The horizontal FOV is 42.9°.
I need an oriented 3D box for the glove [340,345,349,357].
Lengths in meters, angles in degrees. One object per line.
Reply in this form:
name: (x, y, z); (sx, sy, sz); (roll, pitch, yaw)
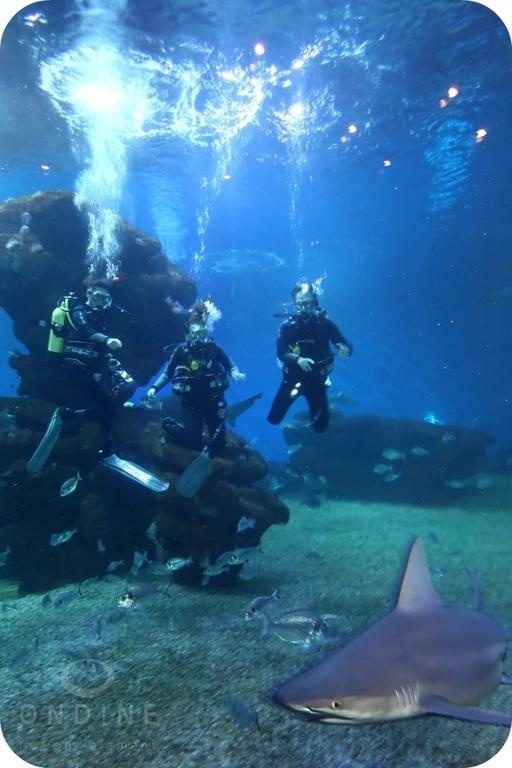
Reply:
glove: (1.689, -0.619, 12.286); (0.187, 0.231, 0.268); (1, 6, 3)

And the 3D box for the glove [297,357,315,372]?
glove: (0.976, -0.369, 12.524); (0.337, 0.315, 0.934); (1, 6, 4)

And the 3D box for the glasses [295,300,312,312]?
glasses: (0.972, -1.523, 12.855); (0.318, 0.220, 0.160); (0, 6, -1)

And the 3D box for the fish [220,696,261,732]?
fish: (-0.160, 4.104, 8.111); (0.623, 0.168, 0.281); (1, 33, 45)
